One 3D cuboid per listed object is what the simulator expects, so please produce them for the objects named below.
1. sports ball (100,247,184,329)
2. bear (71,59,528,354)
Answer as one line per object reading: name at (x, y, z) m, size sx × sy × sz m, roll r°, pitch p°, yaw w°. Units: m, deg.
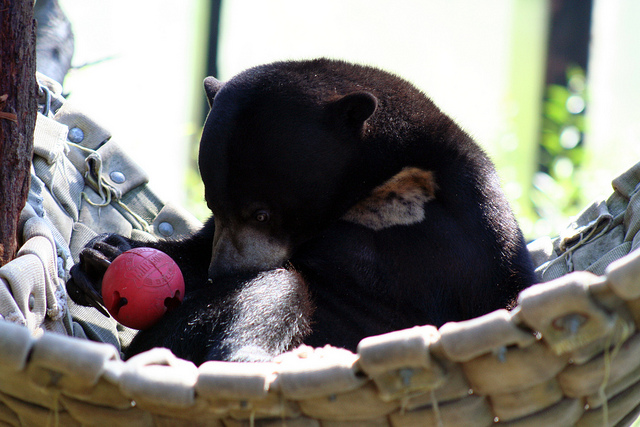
sports ball at (-1.004, 0.426, 6.250) m, size 0.460 × 0.392 × 0.133 m, roll 2°, pitch 0°, yaw -8°
bear at (-0.061, -0.018, 6.714) m, size 1.383 × 1.715 × 2.490 m, roll 1°, pitch 4°, yaw 7°
